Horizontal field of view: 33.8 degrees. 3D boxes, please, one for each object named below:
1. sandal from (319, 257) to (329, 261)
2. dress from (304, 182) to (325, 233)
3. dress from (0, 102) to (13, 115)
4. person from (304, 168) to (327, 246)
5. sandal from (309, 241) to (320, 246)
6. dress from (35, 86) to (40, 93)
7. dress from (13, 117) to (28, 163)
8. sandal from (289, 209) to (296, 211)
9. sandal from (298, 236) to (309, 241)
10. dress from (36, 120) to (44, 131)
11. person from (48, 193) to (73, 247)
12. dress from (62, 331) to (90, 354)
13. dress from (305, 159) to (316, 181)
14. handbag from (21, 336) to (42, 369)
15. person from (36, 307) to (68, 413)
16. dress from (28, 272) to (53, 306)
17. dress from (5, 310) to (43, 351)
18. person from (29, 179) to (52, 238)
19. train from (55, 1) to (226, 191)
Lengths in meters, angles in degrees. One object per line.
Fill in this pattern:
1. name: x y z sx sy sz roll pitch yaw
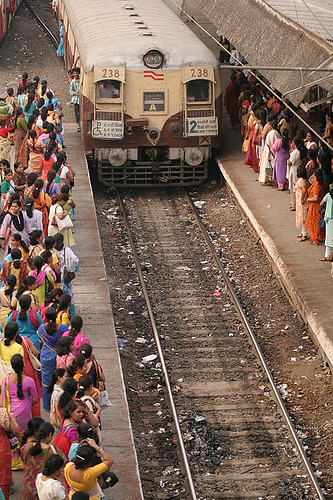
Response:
1. sandal: 3.056 0.186 10.681 0.157 0.058 0.045 6 26 13
2. dress: 2.936 -0.814 10.916 0.360 1.153 0.605 3 19 15
3. dress: -3.881 -3.493 13.574 0.234 0.159 0.274 1 26 -5
4. person: 2.959 -0.864 10.920 0.537 1.646 0.575 13 60 16
5. sandal: 3.063 -0.133 11.457 0.071 0.074 0.205 -9 13 -26
6. dress: -3.683 -4.648 15.855 0.121 0.151 0.479 -6 17 -13
7. dress: -3.573 -2.737 13.589 0.329 1.098 0.789 -11 20 -24
8. sandal: 2.989 -0.953 13.096 0.165 0.058 0.057 4 9 -19
9. sandal: 2.901 -0.239 11.643 0.299 0.095 0.055 -11 21 -29
10. dress: -2.936 -2.935 12.848 0.213 0.254 0.117 -3 2 0
11. person: -1.573 -0.433 8.131 0.342 0.346 0.917 -19 -11 -17
12. dress: -0.860 0.882 5.174 0.214 0.210 0.123 6 12 24
13. dress: 3.028 -1.705 11.610 0.221 0.386 0.606 3 18 13
14. handbag: -1.241 0.965 5.084 0.138 0.352 0.077 -12 21 -27
15. person: -1.162 1.184 5.788 0.407 1.055 0.266 3 1 -6
16. dress: -1.500 0.488 6.619 0.135 0.416 0.285 11 23 34
17. dress: -1.392 0.799 5.421 0.459 0.453 0.263 0 24 0
18. person: -2.072 -0.656 9.187 0.384 0.992 0.465 -13 22 -29
19. train: -0.709 -4.149 14.765 2.866 2.806 9.229 -3 24 -6
